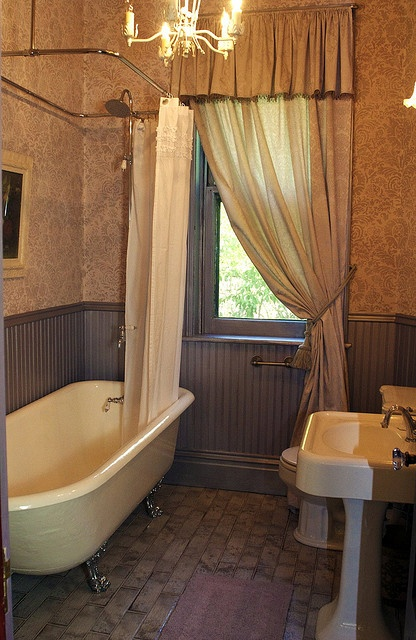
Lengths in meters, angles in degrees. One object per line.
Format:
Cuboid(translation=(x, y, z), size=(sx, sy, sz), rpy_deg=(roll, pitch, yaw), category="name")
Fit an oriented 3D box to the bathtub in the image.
Cuboid(translation=(-0.537, 0.704, 2.091), size=(0.479, 0.361, 1.004), rpy_deg=(1, 9, 16), category="bathtub")
